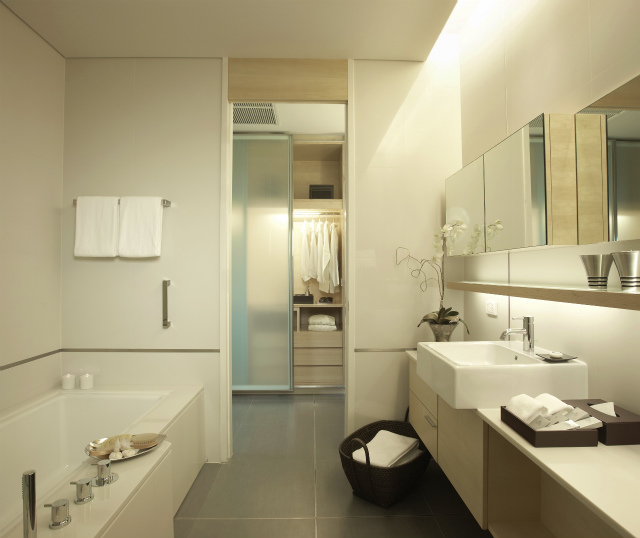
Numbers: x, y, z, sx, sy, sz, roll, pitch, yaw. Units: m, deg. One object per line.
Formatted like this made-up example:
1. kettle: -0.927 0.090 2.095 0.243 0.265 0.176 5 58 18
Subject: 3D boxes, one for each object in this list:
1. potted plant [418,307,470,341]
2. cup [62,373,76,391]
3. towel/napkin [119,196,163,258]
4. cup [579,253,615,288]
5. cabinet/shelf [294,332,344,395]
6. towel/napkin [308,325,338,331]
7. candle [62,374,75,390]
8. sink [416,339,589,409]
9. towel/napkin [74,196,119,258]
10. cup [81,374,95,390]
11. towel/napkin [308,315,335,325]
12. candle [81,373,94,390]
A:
1. potted plant: 0.845 0.406 3.598 0.298 0.246 0.284 -6 -18 29
2. cup: -1.690 0.753 3.574 0.082 0.113 0.089 1 3 0
3. towel/napkin: -1.252 -0.289 3.695 0.337 0.529 0.049 0 0 -2
4. cup: 1.250 0.002 2.430 0.132 0.161 0.136 1 0 0
5. cabinet/shelf: -0.035 0.873 5.351 0.569 0.680 0.455 0 -3 -1
6. towel/napkin: 0.021 0.574 5.206 0.268 0.044 0.078 -1 8 -2
7. candle: -1.690 0.758 3.567 0.081 0.111 0.088 1 3 -17
8. sink: 0.945 0.530 2.836 0.747 0.251 0.621 0 8 0
9. towel/napkin: -1.554 -0.291 3.695 0.337 0.533 0.050 0 -1 -2
10. cup: -1.577 0.762 3.629 0.083 0.110 0.085 1 -1 0
11. towel/napkin: 0.017 0.505 5.296 0.264 0.072 0.190 -1 8 -4
12. candle: -1.579 0.759 3.633 0.089 0.116 0.089 2 -1 -43
